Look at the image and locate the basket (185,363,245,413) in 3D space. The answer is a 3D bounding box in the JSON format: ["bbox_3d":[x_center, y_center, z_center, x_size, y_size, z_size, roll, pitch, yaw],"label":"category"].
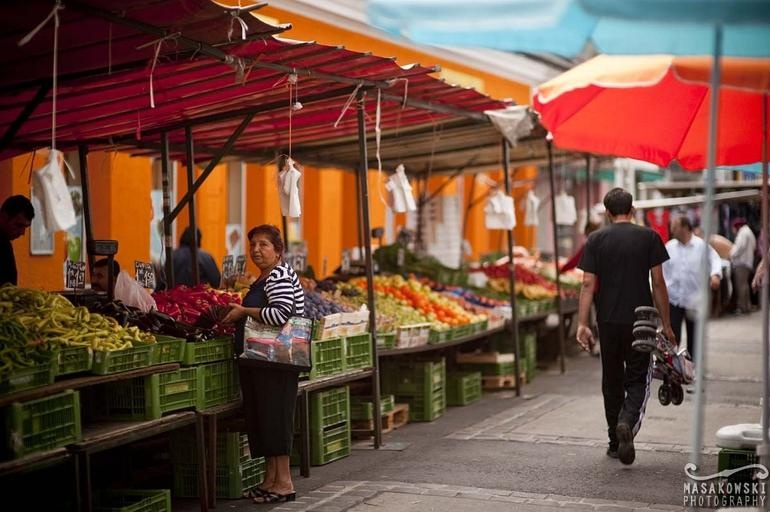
[{"bbox_3d":[-1.553,1.190,7.857,0.427,0.373,0.358,1,0,15],"label":"basket"}]

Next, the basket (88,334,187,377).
[{"bbox_3d":[-2.093,0.856,7.217,0.265,0.122,0.508,-6,-3,40],"label":"basket"}]

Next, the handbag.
[{"bbox_3d":[-0.994,0.770,7.786,0.491,0.556,0.519,-1,-2,3],"label":"handbag"}]

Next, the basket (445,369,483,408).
[{"bbox_3d":[1.004,1.670,11.209,0.355,0.355,0.547,-1,0,24],"label":"basket"}]

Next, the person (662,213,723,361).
[{"bbox_3d":[3.800,0.447,10.680,0.948,2.333,1.158,1,1,14],"label":"person"}]

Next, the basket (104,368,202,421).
[{"bbox_3d":[-2.030,1.154,7.543,0.542,0.445,0.584,-1,0,29],"label":"basket"}]

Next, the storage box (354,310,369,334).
[{"bbox_3d":[-0.256,0.721,9.421,0.153,0.160,0.231,-1,-6,12],"label":"storage box"}]

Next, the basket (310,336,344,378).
[{"bbox_3d":[-0.610,1.048,8.895,0.305,0.380,0.551,-3,-4,24],"label":"basket"}]

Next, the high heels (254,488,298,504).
[{"bbox_3d":[-1.005,2.192,7.840,0.295,0.073,0.144,5,-8,-5],"label":"high heels"}]

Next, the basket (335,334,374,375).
[{"bbox_3d":[-0.312,1.042,9.280,0.311,0.392,0.576,1,1,34],"label":"basket"}]

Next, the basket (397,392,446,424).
[{"bbox_3d":[0.399,1.833,10.378,0.332,0.188,0.534,0,-4,14],"label":"basket"}]

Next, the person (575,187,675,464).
[{"bbox_3d":[2.423,0.645,8.742,0.887,2.499,1.291,0,-1,33],"label":"person"}]

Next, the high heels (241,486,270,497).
[{"bbox_3d":[-1.208,2.189,7.936,0.268,0.075,0.117,0,0,16],"label":"high heels"}]

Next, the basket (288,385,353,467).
[{"bbox_3d":[-0.802,1.729,8.968,0.631,0.735,0.791,-1,-2,27],"label":"basket"}]

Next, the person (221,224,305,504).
[{"bbox_3d":[-1.023,1.014,7.952,0.838,2.318,0.694,0,-1,-42],"label":"person"}]

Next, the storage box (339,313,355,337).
[{"bbox_3d":[-0.413,0.715,9.170,0.085,0.229,0.210,-3,1,33],"label":"storage box"}]

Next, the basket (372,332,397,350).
[{"bbox_3d":[-0.034,0.972,9.868,0.230,0.130,0.364,0,-3,7],"label":"basket"}]

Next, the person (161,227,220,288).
[{"bbox_3d":[-2.811,0.113,12.297,0.773,1.161,0.693,2,0,31],"label":"person"}]

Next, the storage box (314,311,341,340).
[{"bbox_3d":[-0.615,0.724,9.003,0.249,0.155,0.252,1,6,9],"label":"storage box"}]

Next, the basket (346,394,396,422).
[{"bbox_3d":[-0.186,1.712,9.774,0.253,0.135,0.394,-2,-6,18],"label":"basket"}]
